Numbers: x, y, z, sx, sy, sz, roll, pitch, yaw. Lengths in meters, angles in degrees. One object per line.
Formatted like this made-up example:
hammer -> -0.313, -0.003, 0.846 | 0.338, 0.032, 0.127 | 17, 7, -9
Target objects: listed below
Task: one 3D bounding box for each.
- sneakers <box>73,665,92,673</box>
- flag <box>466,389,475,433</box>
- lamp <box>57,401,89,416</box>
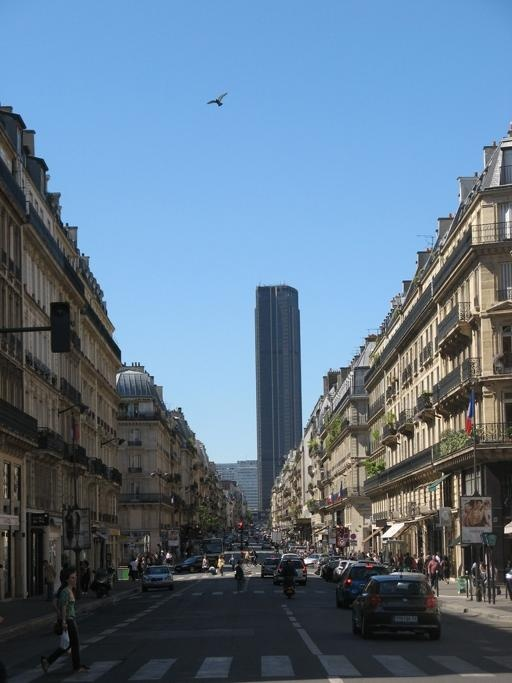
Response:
sneakers -> -2.513, 4.718, 16.280 | 0.212, 0.126, 0.085 | -3, -2, 25
flag -> 9.091, 3.009, 48.207 | 0.363, 1.578, 2.683 | -5, -18, 9
lamp -> -10.873, 4.019, 68.276 | 1.330, 0.709, 1.181 | -5, 4, -12
